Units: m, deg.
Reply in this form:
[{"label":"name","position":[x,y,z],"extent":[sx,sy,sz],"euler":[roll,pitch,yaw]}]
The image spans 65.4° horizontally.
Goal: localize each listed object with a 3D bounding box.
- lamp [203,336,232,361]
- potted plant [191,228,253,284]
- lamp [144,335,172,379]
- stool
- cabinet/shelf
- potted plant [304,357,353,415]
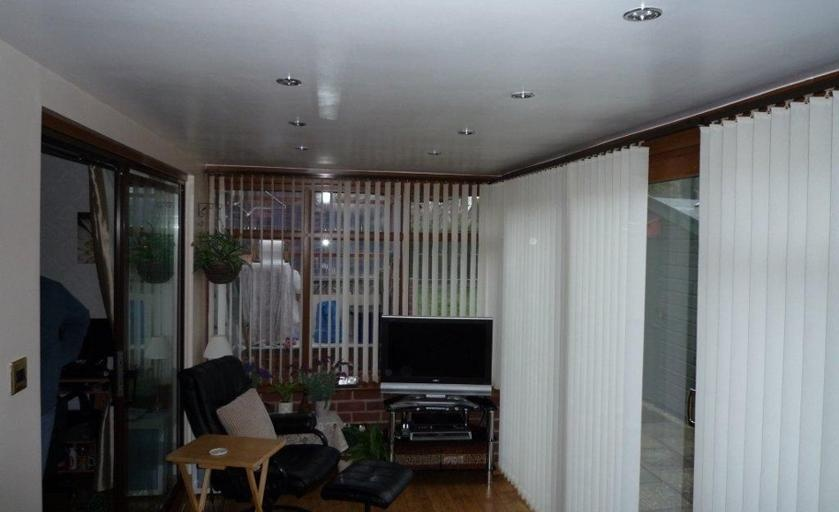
[{"label":"lamp","position":[-2.074,0.923,6.751],"extent":[0.299,0.267,0.292],"euler":[-3,5,-35]},{"label":"potted plant","position":[-2.017,0.003,6.718],"extent":[0.538,0.511,0.521],"euler":[3,-7,-25]},{"label":"lamp","position":[-2.377,0.906,5.947],"extent":[0.312,0.512,0.300],"euler":[-1,0,-20]},{"label":"stool","position":[-0.431,1.970,5.555],"extent":[0.670,0.383,0.496],"euler":[-2,-4,12]},{"label":"cabinet/shelf","position":[0.237,1.904,7.125],"extent":[1.089,0.734,0.946],"euler":[0,-9,-4]},{"label":"potted plant","position":[-0.979,1.385,7.061],"extent":[0.530,0.343,0.531],"euler":[1,0,-38]}]
